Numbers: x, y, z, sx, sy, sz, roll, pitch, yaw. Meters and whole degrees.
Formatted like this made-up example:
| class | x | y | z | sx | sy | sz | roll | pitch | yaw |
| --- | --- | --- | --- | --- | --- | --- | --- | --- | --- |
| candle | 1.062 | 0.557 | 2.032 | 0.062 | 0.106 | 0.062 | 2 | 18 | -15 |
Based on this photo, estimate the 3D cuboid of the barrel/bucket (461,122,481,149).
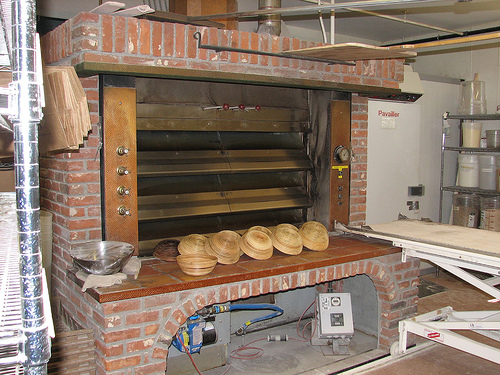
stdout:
| class | x | y | z | sx | sy | sz | roll | pitch | yaw |
| --- | --- | --- | --- | --- | --- | --- | --- | --- | --- |
| barrel/bucket | 3.519 | -0.832 | 5.907 | 0.264 | 0.386 | 0.211 | 1 | 5 | 25 |

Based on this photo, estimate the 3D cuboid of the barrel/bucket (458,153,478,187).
| class | x | y | z | sx | sy | sz | roll | pitch | yaw |
| --- | --- | --- | --- | --- | --- | --- | --- | --- | --- |
| barrel/bucket | 3.598 | -0.271 | 5.999 | 0.416 | 0.493 | 0.402 | -1 | 6 | 0 |

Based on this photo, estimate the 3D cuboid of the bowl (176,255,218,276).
| class | x | y | z | sx | sy | sz | roll | pitch | yaw |
| --- | --- | --- | --- | --- | --- | --- | --- | --- | --- |
| bowl | -0.390 | 0.573 | 2.750 | 0.294 | 0.141 | 0.150 | -1 | 4 | -8 |

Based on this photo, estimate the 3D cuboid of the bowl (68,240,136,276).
| class | x | y | z | sx | sy | sz | roll | pitch | yaw |
| --- | --- | --- | --- | --- | --- | --- | --- | --- | --- |
| bowl | -1.074 | 0.499 | 2.651 | 0.471 | 0.185 | 0.378 | -1 | 4 | -4 |
